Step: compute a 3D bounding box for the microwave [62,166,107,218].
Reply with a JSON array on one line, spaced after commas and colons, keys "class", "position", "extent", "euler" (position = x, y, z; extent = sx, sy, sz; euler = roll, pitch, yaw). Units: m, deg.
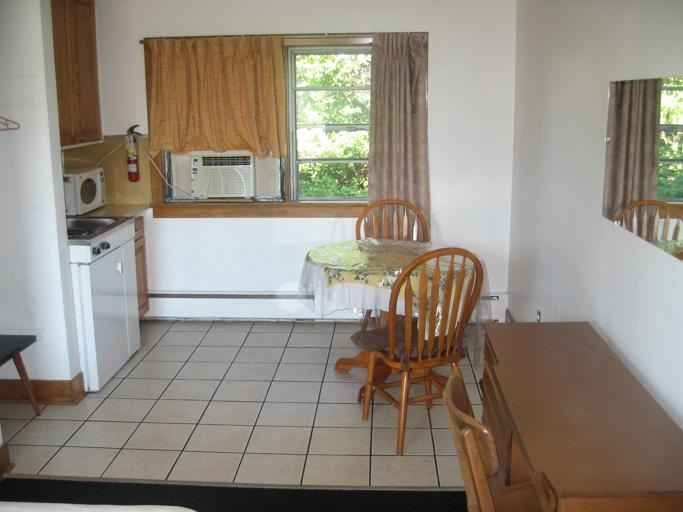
[{"class": "microwave", "position": [-2.174, -0.543, 4.299], "extent": [0.285, 0.330, 0.503], "euler": [5, 15, -1]}]

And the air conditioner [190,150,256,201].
[{"class": "air conditioner", "position": [-1.054, -0.702, 4.844], "extent": [0.641, 0.557, 0.367], "euler": [3, 22, -1]}]

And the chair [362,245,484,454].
[{"class": "chair", "position": [0.477, 0.503, 3.187], "extent": [0.711, 1.248, 0.661], "euler": [0, 13, 5]}]
